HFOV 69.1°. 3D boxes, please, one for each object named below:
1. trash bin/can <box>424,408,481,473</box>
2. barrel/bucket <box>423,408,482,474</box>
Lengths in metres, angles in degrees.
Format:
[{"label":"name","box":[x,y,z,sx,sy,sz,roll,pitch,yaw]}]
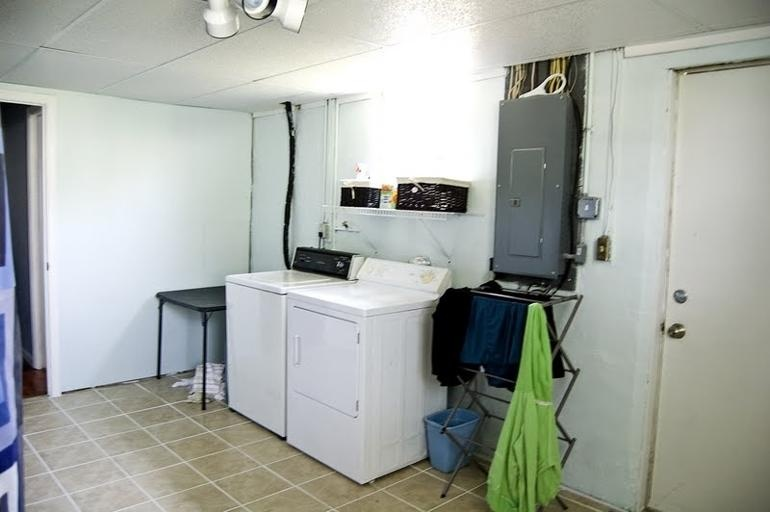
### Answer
[{"label":"trash bin/can","box":[0.478,1.370,4.243,0.438,0.450,0.544,-7,-10,42]},{"label":"barrel/bucket","box":[0.471,1.375,4.238,0.445,0.453,0.535,-5,-10,41]}]
